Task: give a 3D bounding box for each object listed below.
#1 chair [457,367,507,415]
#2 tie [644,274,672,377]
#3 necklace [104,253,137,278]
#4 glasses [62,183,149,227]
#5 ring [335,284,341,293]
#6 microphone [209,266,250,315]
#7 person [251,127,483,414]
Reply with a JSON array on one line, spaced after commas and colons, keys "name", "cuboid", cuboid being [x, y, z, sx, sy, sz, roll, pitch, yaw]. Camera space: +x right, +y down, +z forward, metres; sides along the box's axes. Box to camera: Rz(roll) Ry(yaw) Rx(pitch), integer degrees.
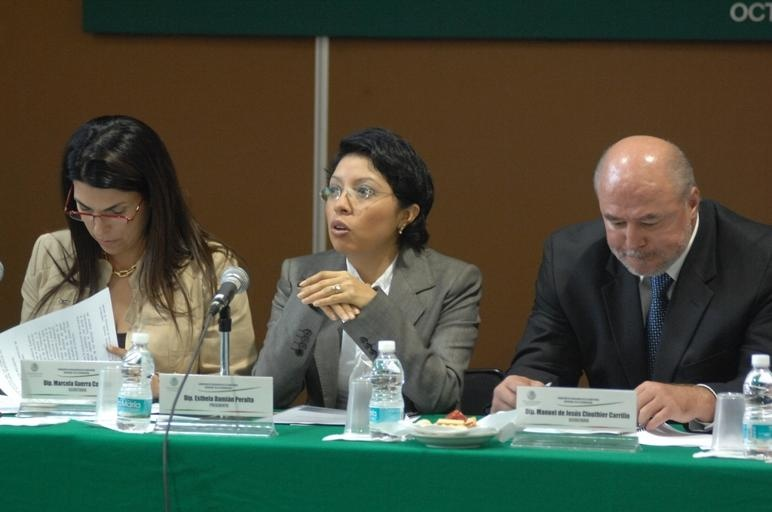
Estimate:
[{"name": "chair", "cuboid": [0.406, 0.574, 3.151, 0.183, 0.242, 0.192, 1, -5, 8]}, {"name": "tie", "cuboid": [1.108, 0.266, 2.995, 0.070, 0.447, 0.073, 6, -6, 30]}, {"name": "necklace", "cuboid": [-1.210, 0.053, 3.346, 0.090, 0.119, 0.029, -3, -9, 4]}, {"name": "glasses", "cuboid": [-1.283, -0.224, 3.236, 0.362, 0.165, 0.157, -2, -7, 18]}, {"name": "ring", "cuboid": [-0.184, 0.124, 2.790, 0.020, 0.026, 0.027, 0, -5, -10]}, {"name": "microphone", "cuboid": [-0.533, 0.119, 2.494, 0.116, 0.189, 0.320, 2, -7, -11]}, {"name": "person", "cuboid": [-0.054, 0.036, 3.088, 0.954, 1.213, 0.583, 2, -6, -12]}]
